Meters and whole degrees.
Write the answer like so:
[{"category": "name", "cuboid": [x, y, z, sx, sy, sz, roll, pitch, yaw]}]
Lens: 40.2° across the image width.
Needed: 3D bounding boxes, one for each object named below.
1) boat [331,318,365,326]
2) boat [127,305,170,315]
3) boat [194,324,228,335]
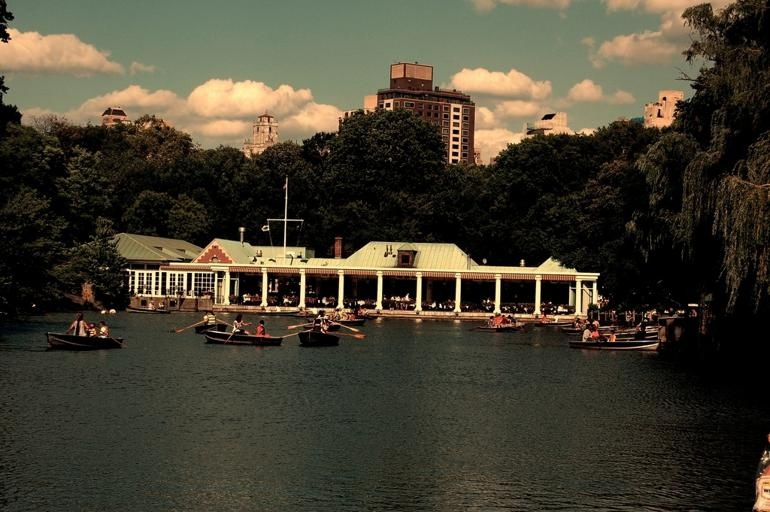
[{"category": "boat", "cuboid": [-3.234, 5.992, 93.961, 3.180, 0.491, 0.831, 3, -3, -12]}, {"category": "boat", "cuboid": [-25.006, 5.611, 107.152, 5.824, 0.923, 1.470, 2, 3, -1]}, {"category": "boat", "cuboid": [-14.062, 5.730, 83.961, 1.230, 0.663, 4.896, 2, -4, -28]}]
